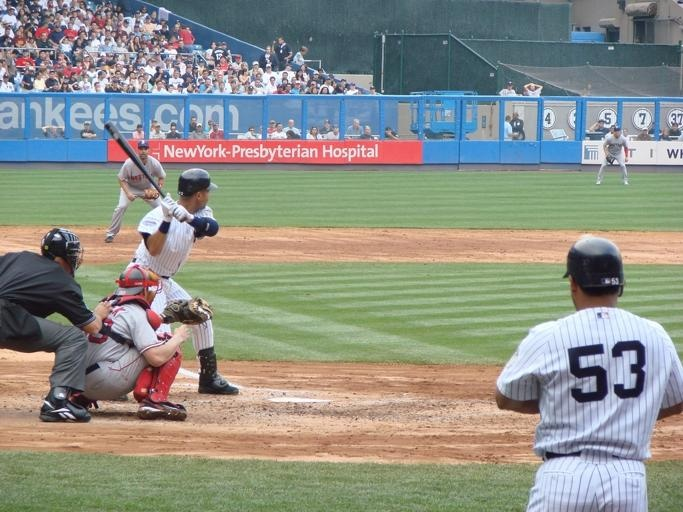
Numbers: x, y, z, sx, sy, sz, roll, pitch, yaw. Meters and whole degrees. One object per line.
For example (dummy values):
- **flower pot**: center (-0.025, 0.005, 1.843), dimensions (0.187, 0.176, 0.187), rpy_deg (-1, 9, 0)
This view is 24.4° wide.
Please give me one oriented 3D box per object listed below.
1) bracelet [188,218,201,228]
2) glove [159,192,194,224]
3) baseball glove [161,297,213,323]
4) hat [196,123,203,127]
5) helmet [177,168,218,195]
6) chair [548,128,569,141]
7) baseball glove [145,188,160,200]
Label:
- **bracelet**: center (-2.726, -0.631, 29.487), dimensions (0.190, 0.164, 0.192), rpy_deg (-16, -3, 31)
- **glove**: center (-3.082, -0.874, 29.333), dimensions (0.652, 0.355, 0.267), rpy_deg (28, -26, -20)
- **baseball glove**: center (-2.849, 1.012, 29.252), dimensions (0.738, 0.276, 0.523), rpy_deg (-11, -9, 24)
- **hat**: center (-4.750, -4.385, 52.862), dimensions (0.103, 0.133, 0.229), rpy_deg (9, 14, 37)
- **helmet**: center (-2.685, -1.395, 29.779), dimensions (0.685, 0.293, 0.477), rpy_deg (-17, 29, -35)
- **chair**: center (7.567, -4.261, 55.108), dimensions (0.615, 0.464, 0.378), rpy_deg (-2, 10, 5)
- **baseball glove**: center (-3.719, -1.219, 30.932), dimensions (0.276, 0.126, 0.321), rpy_deg (3, 3, -1)
